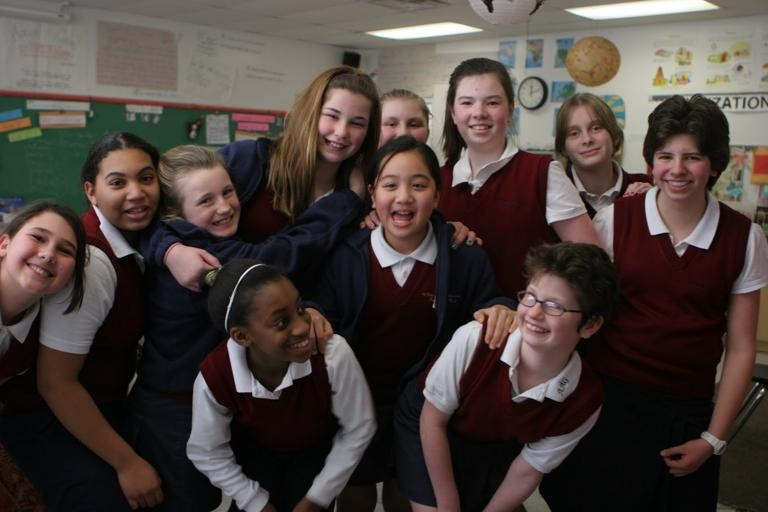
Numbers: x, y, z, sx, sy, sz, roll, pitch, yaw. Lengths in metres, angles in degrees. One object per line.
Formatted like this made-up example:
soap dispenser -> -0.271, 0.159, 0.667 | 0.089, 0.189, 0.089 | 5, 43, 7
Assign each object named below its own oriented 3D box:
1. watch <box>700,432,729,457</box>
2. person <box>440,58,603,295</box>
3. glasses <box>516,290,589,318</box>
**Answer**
watch -> 1.306, 0.744, 2.286 | 0.087, 0.056, 0.091 | 30, -13, 31
person -> 0.540, -0.358, 2.572 | 0.683, 1.260, 0.479 | 3, 23, 4
glasses -> 0.599, 0.174, 2.147 | 0.251, 0.072, 0.107 | 12, 18, 36
